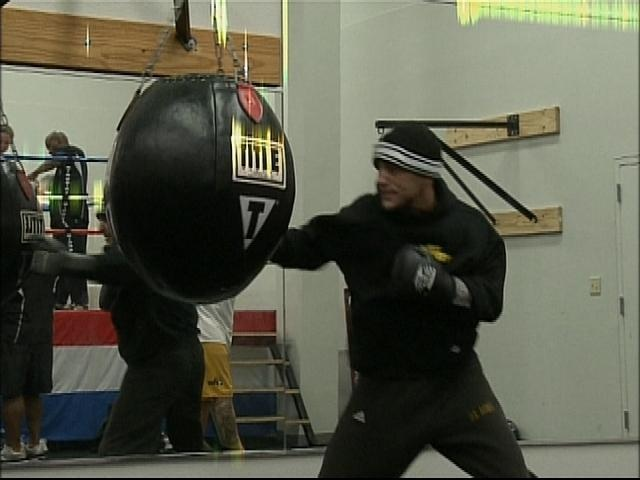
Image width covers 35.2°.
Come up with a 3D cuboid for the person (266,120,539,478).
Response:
[{"bbox_3d":[0.262,0.482,4.605,1.007,1.997,1.324,-11,-22,34],"label":"person"}]

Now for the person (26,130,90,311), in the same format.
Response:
[{"bbox_3d":[-1.272,-0.108,4.974,0.232,0.908,0.248,-8,-20,5],"label":"person"}]

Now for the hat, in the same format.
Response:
[{"bbox_3d":[0.361,-0.366,4.128,0.283,0.250,0.293,3,-2,-3],"label":"hat"}]

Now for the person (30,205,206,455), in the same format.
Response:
[{"bbox_3d":[-0.847,0.540,4.495,0.546,1.210,1.263,1,6,-1],"label":"person"}]

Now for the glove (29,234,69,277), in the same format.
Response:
[{"bbox_3d":[-1.050,0.068,3.909,0.030,0.140,0.133,15,-1,39],"label":"glove"}]
